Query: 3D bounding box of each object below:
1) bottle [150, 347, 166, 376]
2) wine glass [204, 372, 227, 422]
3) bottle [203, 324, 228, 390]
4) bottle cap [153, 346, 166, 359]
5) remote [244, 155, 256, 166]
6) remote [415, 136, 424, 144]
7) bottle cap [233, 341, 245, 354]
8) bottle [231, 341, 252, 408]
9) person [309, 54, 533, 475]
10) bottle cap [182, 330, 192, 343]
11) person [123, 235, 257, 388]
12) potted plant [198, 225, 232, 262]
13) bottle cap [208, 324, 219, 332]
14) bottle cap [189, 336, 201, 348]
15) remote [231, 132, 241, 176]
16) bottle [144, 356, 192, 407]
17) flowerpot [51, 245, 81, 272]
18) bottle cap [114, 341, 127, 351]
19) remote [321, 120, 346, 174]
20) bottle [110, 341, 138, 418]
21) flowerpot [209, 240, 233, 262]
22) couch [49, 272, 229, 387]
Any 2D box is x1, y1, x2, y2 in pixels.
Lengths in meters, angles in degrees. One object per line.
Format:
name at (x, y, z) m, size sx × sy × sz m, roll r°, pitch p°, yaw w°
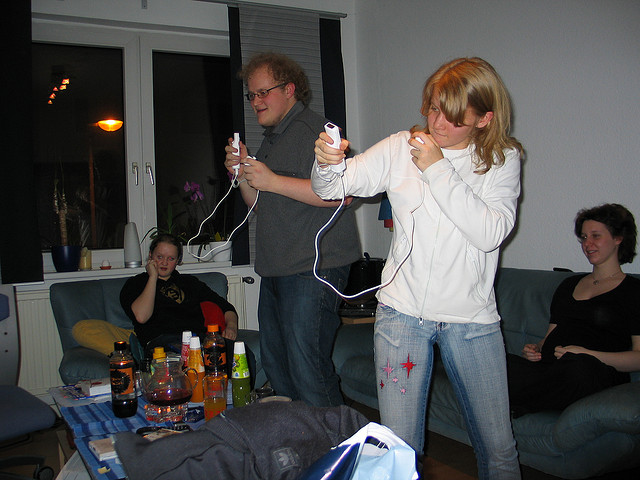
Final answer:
bottle at (-0.656, 0.493, 2.075) m, size 0.059 × 0.121 × 0.181 m, roll -6°, pitch 9°, yaw -19°
wine glass at (-0.421, 0.636, 2.046) m, size 0.110 × 0.196 × 0.107 m, roll -3°, pitch 4°, yaw -35°
bottle at (-0.449, 0.458, 2.168) m, size 0.094 × 0.196 × 0.277 m, roll -4°, pitch 9°, yaw -12°
bottle cap at (-0.646, 0.453, 2.063) m, size 0.050 × 0.042 × 0.053 m, roll 0°, pitch -1°, yaw 3°
remote at (-0.281, -0.322, 2.073) m, size 0.041 × 0.039 × 0.142 m, roll -4°, pitch 9°, yaw -7°
remote at (0.324, -0.327, 1.670) m, size 0.034 × 0.026 × 0.014 m, roll 4°, pitch 11°, yaw 39°
bottle cap at (-0.317, 0.421, 2.014) m, size 0.042 × 0.044 × 0.044 m, roll 1°, pitch 0°, yaw 2°
bottle at (-0.318, 0.533, 2.036) m, size 0.076 × 0.271 × 0.154 m, roll -4°, pitch 9°, yaw -10°
person at (0.362, 0.097, 1.751) m, size 0.677 × 1.395 × 0.331 m, roll -1°, pitch 8°, yaw 12°
bottle cap at (-0.591, 0.423, 2.242) m, size 0.046 × 0.048 × 0.046 m, roll 2°, pitch -3°, yaw 3°
person at (-0.778, 0.469, 3.119) m, size 0.741 × 1.015 × 0.678 m, roll 0°, pitch 9°, yaw 41°
potted plant at (-0.791, 0.038, 3.950) m, size 0.287 × 0.312 × 0.270 m, roll -2°, pitch -2°, yaw 37°
bottle cap at (-0.455, 0.371, 2.181) m, size 0.034 × 0.022 × 0.035 m, roll 1°, pitch 4°, yaw -14°
bottle cap at (-0.520, 0.430, 2.147) m, size 0.039 × 0.046 × 0.046 m, roll 1°, pitch -5°, yaw 3°
remote at (-0.377, -0.394, 2.315) m, size 0.038 × 0.206 × 0.059 m, roll 1°, pitch -1°, yaw -19°
bottle at (-0.579, 0.545, 1.985) m, size 0.159 × 0.158 × 0.167 m, roll -1°, pitch -5°, yaw 2°
flowerpot at (-1.698, 0.107, 3.442) m, size 0.171 × 0.166 × 0.165 m, roll 3°, pitch 6°, yaw 38°
bottle cap at (-0.809, 0.424, 2.068) m, size 0.037 × 0.031 × 0.039 m, roll 1°, pitch 1°, yaw -8°
remote at (0.052, -0.317, 1.747) m, size 0.066 × 0.179 × 0.143 m, roll -2°, pitch 9°, yaw 3°
bottle at (-0.810, 0.554, 2.096) m, size 0.101 × 0.304 × 0.161 m, roll -6°, pitch 9°, yaw -24°
flowerpot at (-0.744, 0.084, 3.881) m, size 0.146 × 0.124 × 0.148 m, roll 0°, pitch -3°, yaw -16°
couch at (-1.096, 0.675, 3.266) m, size 1.112 × 0.765 × 0.605 m, roll -1°, pitch 14°, yaw -34°
